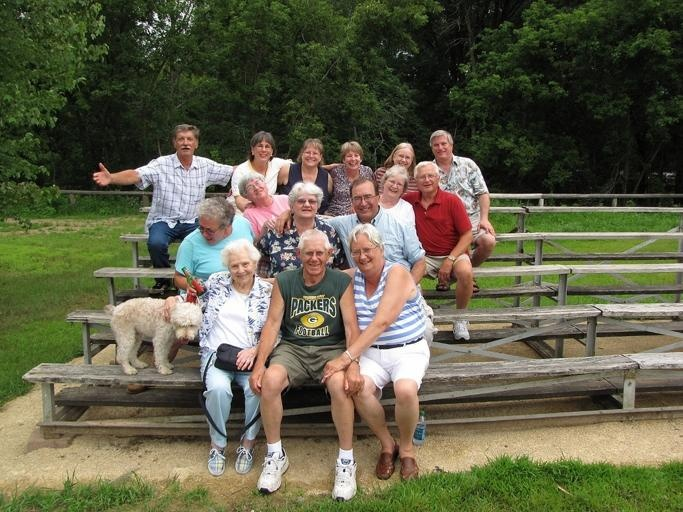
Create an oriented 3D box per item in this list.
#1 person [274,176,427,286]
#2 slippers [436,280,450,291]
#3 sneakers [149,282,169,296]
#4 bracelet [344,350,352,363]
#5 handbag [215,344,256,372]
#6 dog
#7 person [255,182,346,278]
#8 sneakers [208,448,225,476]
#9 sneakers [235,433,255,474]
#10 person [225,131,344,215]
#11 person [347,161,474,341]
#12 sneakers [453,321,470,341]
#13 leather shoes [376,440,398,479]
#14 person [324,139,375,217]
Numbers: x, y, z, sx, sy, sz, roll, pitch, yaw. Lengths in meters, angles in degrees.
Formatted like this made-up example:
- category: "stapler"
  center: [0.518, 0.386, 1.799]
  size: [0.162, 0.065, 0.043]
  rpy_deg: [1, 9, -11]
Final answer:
- category: "person"
  center: [0.220, -0.201, 7.114]
  size: [1.551, 1.073, 0.810]
  rpy_deg: [-1, 4, -19]
- category: "slippers"
  center: [1.213, 0.348, 7.914]
  size: [0.149, 0.131, 0.393]
  rpy_deg: [-1, -3, 9]
- category: "sneakers"
  center: [-2.355, 0.423, 8.559]
  size: [0.120, 0.121, 0.285]
  rpy_deg: [2, -3, 9]
- category: "bracelet"
  center: [0.067, 0.942, 6.252]
  size: [0.093, 0.037, 0.072]
  rpy_deg: [49, 10, 21]
- category: "handbag"
  center: [-1.100, 0.988, 6.388]
  size: [0.248, 0.257, 0.147]
  rpy_deg: [0, 8, -8]
- category: "dog"
  center: [-1.924, 0.813, 6.769]
  size: [1.222, 0.708, 0.400]
  rpy_deg: [4, 2, 26]
- category: "person"
  center: [-0.439, -0.203, 7.188]
  size: [1.304, 1.131, 0.655]
  rpy_deg: [4, 8, 10]
- category: "sneakers"
  center: [-1.188, 1.945, 6.311]
  size: [0.170, 0.224, 0.199]
  rpy_deg: [0, 8, -10]
- category: "sneakers"
  center: [-0.909, 1.868, 6.329]
  size: [0.144, 0.152, 0.382]
  rpy_deg: [4, 41, -3]
- category: "person"
  center: [-0.751, -1.062, 8.464]
  size: [1.418, 0.869, 0.685]
  rpy_deg: [-1, 15, -21]
- category: "person"
  center: [1.070, -0.080, 7.909]
  size: [1.148, 1.929, 1.298]
  rpy_deg: [3, 23, 38]
- category: "sneakers"
  center: [1.395, 0.870, 7.748]
  size: [0.183, 0.301, 0.239]
  rpy_deg: [2, 8, 8]
- category: "leather shoes"
  center: [0.424, 1.941, 6.228]
  size: [0.135, 0.123, 0.345]
  rpy_deg: [-2, 15, 24]
- category: "person"
  center: [0.046, -0.922, 8.504]
  size: [0.772, 1.011, 0.631]
  rpy_deg: [6, 7, -17]
